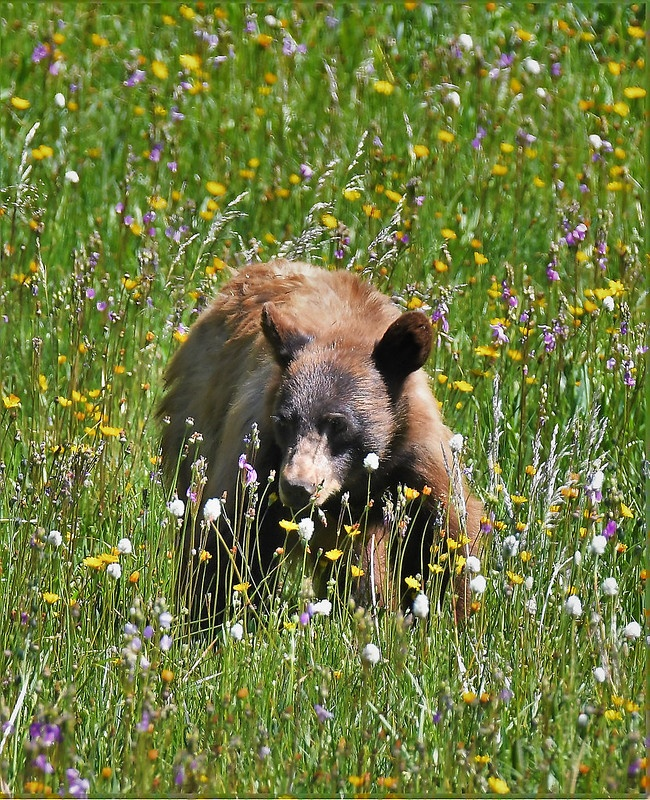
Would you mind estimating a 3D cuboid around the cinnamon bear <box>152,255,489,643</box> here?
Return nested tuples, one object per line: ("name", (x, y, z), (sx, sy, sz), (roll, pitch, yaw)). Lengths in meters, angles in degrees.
("cinnamon bear", (0.185, 0.190, 4.621), (0.827, 1.524, 1.992), (-5, 11, 6))
